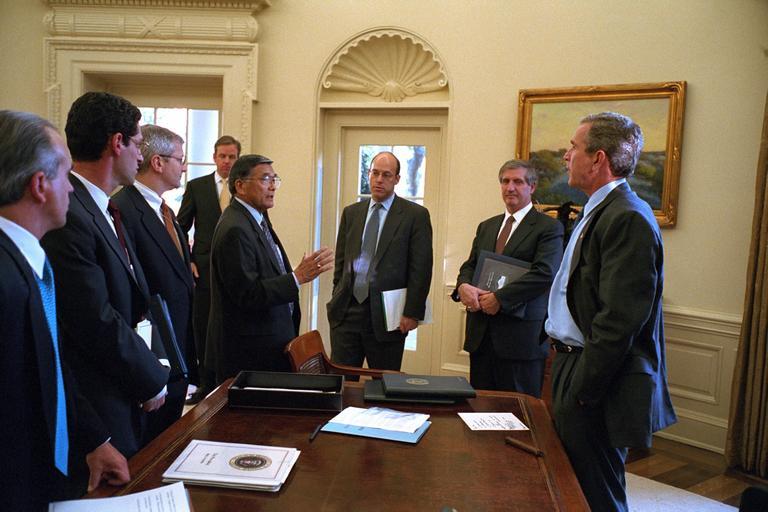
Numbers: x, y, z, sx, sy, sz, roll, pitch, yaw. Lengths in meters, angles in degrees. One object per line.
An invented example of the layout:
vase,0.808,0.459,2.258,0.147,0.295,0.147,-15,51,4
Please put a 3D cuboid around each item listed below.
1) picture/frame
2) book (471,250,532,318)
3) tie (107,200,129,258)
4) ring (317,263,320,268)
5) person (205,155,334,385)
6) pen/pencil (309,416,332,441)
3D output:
picture/frame,1.832,-0.870,5.123,1.334,1.224,0.082,5,19,28
book,0.760,0.196,3.999,0.429,0.405,0.100,19,-4,24
tie,-1.265,-0.133,2.771,0.070,0.055,0.405,6,45,-42
ring,-0.393,0.054,3.489,0.018,0.026,0.013,1,11,-10
person,-0.764,0.106,3.590,0.600,1.430,0.574,-3,12,-29
pen/pencil,-0.275,0.753,2.552,0.023,0.024,0.216,39,15,5
